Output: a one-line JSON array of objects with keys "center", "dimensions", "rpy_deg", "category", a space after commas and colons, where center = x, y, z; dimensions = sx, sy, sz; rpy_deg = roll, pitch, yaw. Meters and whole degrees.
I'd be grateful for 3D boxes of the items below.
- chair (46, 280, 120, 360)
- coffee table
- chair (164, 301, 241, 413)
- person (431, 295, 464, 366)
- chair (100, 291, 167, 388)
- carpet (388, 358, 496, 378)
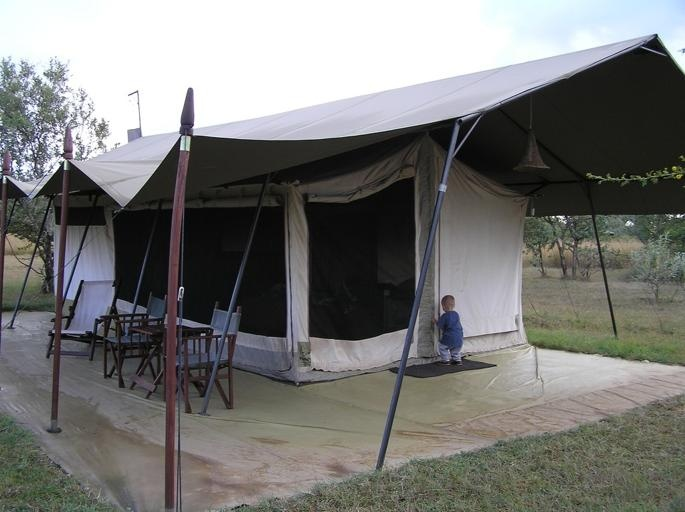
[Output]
[{"center": [-3.462, 0.822, 8.614], "dimensions": [0.649, 1.009, 0.992], "rpy_deg": [2, 3, 9], "category": "chair"}, {"center": [-2.170, 1.251, 7.396], "dimensions": [0.591, 0.436, 0.592], "rpy_deg": [-11, -7, -39], "category": "coffee table"}, {"center": [-1.517, 1.069, 6.803], "dimensions": [0.695, 1.065, 0.810], "rpy_deg": [4, -1, -38], "category": "chair"}, {"center": [1.381, 0.965, 8.375], "dimensions": [0.343, 0.879, 0.308], "rpy_deg": [-1, -5, 7], "category": "person"}, {"center": [-2.485, 0.997, 7.702], "dimensions": [0.617, 0.991, 0.628], "rpy_deg": [0, 2, -37], "category": "chair"}, {"center": [1.312, 1.437, 8.155], "dimensions": [1.334, 0.164, 0.529], "rpy_deg": [3, -7, -30], "category": "carpet"}]
